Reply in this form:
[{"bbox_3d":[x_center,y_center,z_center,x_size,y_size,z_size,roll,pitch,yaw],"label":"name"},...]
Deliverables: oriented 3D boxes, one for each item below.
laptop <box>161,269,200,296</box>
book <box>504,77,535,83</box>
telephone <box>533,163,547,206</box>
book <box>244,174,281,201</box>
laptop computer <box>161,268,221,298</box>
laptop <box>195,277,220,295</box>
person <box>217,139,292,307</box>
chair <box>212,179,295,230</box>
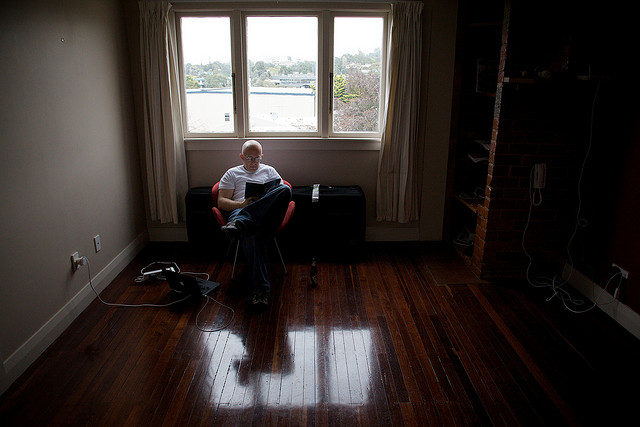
[{"bbox_3d":[-1.308,0.660,4.176,0.323,0.237,0.236,6,27,16],"label":"laptop"},{"bbox_3d":[1.874,-1.244,4.104,0.239,0.040,0.025,2,0,-3],"label":"book"},{"bbox_3d":[2.141,-0.283,4.315,0.102,0.403,0.035,2,9,14],"label":"telephone"},{"bbox_3d":[-0.615,-0.265,4.608,0.339,0.170,0.519,3,21,10],"label":"book"},{"bbox_3d":[-1.259,0.627,4.296,0.433,0.277,0.341,10,25,27],"label":"laptop computer"},{"bbox_3d":[-1.141,0.712,4.366,0.136,0.026,0.197,2,16,8],"label":"laptop"},{"bbox_3d":[-0.647,0.038,4.435,0.728,1.322,1.233,-7,21,-13],"label":"person"},{"bbox_3d":[-0.696,-0.032,4.658,0.669,0.676,0.564,-1,1,-12],"label":"chair"}]
